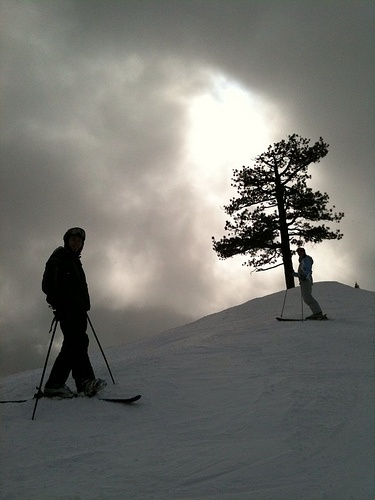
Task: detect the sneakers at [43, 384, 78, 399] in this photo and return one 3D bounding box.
[{"bbox_3d":[-1.568,1.778,6.250,0.464,0.179,0.147,1,-15,-6],"label":"sneakers"}]

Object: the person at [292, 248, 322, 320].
[{"bbox_3d":[2.924,0.810,12.235,0.699,1.738,1.541,-1,1,13],"label":"person"}]
